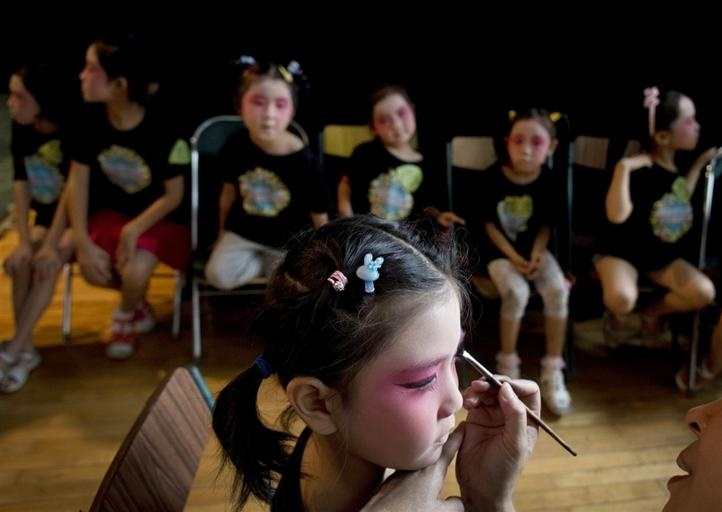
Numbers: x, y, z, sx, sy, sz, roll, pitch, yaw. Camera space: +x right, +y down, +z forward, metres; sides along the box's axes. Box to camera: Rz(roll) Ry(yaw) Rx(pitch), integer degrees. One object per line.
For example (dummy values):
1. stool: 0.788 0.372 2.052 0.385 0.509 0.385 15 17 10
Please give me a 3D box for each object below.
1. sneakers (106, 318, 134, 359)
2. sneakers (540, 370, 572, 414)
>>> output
1. sneakers: -0.990 0.347 2.725 0.083 0.174 0.177 3 11 -6
2. sneakers: 0.827 0.580 2.859 0.076 0.088 0.220 -7 24 0
